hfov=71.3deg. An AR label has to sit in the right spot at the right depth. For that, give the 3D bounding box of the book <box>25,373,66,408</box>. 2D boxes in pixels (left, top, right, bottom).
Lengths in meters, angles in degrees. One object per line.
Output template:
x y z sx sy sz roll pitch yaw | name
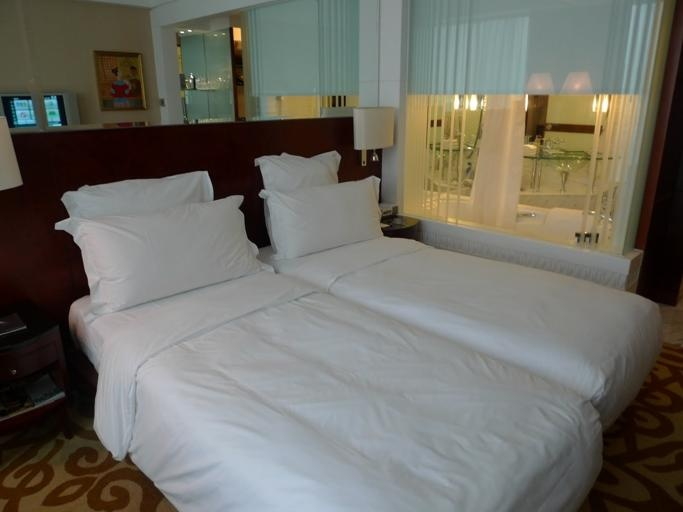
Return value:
-1.637 0.735 2.616 0.135 0.050 0.142 -13 28 -41 | book

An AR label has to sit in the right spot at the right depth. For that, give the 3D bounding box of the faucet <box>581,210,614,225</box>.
1.909 -0.281 3.557 0.098 0.053 0.139 13 25 34 | faucet

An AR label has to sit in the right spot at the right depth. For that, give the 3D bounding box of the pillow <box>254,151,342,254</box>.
-0.329 -0.451 3.631 0.714 0.730 0.219 -2 -9 -35 | pillow

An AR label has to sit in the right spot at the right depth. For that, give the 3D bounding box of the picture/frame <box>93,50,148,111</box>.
-2.572 -2.034 5.506 0.053 0.777 0.635 17 26 34 | picture/frame

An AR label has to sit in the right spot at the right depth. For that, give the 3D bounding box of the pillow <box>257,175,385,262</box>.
-0.113 -0.282 3.577 0.899 0.530 0.293 -12 -4 -22 | pillow

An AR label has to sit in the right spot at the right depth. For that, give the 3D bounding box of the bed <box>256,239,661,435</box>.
0.695 0.239 2.886 1.801 0.522 1.113 20 28 38 | bed
